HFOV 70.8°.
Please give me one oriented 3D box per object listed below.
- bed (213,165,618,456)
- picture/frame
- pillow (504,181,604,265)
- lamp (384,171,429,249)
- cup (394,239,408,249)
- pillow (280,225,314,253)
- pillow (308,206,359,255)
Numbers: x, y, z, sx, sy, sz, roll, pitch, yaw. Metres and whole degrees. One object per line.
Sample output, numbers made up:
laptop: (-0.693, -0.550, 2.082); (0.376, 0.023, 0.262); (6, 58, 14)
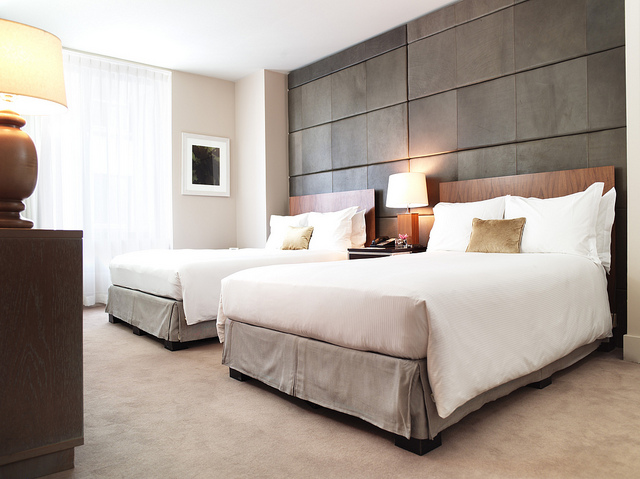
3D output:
bed: (0.771, 0.507, 3.318); (1.818, 1.518, 2.245); (0, 1, 39)
picture/frame: (-1.696, -1.070, 6.482); (0.865, 1.167, 0.046); (-2, 4, -43)
pillow: (1.869, -0.111, 3.653); (0.171, 0.561, 0.674); (-10, 6, -41)
lamp: (0.935, -0.287, 4.834); (0.440, 0.809, 0.466); (-5, 6, -8)
cup: (0.872, 0.064, 4.791); (0.103, 0.117, 0.107); (1, -7, 0)
pillow: (-0.268, -0.006, 5.160); (0.280, 0.297, 0.090); (8, -14, 37)
pillow: (0.162, -0.078, 5.166); (0.485, 0.370, 0.173); (-8, -18, 42)
